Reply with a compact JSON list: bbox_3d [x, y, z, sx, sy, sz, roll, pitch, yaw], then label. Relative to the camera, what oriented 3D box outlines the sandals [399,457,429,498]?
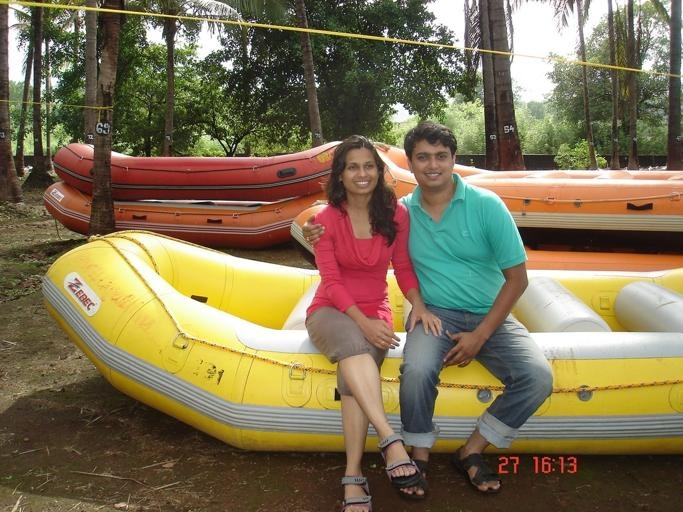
[{"bbox_3d":[0.416,1.263,3.175,0.112,0.103,0.302,-3,-8,2],"label":"sandals"}]

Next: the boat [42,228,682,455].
[{"bbox_3d":[0.162,0.625,3.863,4.370,0.960,1.907,1,22,6],"label":"boat"}]

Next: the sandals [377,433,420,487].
[{"bbox_3d":[0.307,1.115,3.095,0.147,0.102,0.364,-21,13,-5],"label":"sandals"}]

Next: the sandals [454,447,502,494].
[{"bbox_3d":[0.810,1.264,3.403,0.153,0.128,0.322,-18,14,-22],"label":"sandals"}]

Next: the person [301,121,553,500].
[{"bbox_3d":[0.794,0.272,3.401,0.938,2.206,0.698,2,7,11],"label":"person"}]

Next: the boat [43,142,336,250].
[{"bbox_3d":[-2.463,-0.973,9.333,3.765,1.231,1.998,1,6,3],"label":"boat"}]
